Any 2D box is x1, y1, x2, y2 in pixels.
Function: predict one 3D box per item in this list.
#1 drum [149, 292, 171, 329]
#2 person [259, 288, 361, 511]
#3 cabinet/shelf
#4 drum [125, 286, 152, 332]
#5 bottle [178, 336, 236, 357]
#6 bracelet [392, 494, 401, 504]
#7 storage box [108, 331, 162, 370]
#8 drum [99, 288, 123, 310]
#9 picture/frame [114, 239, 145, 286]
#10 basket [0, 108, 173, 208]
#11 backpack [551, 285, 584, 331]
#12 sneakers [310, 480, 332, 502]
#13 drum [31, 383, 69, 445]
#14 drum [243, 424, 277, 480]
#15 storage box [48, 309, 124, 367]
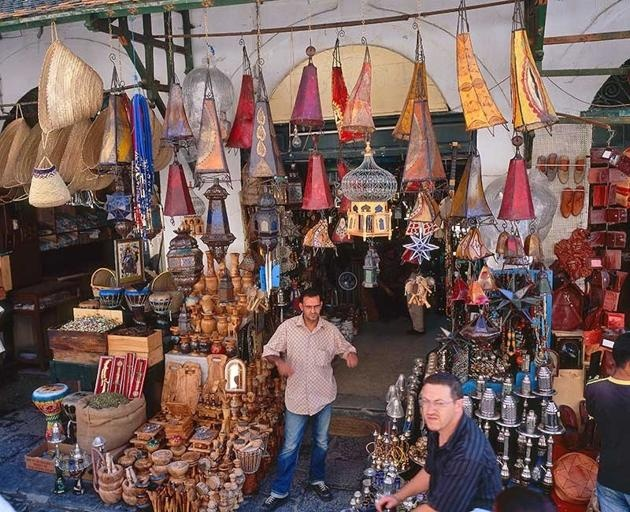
[{"bbox_3d":[-1.417,0.497,5.713,0.190,0.322,0.194,0,-1,0],"label":"drum"},{"bbox_3d":[-0.051,1.070,4.825,0.703,1.637,0.304,0,-1,-7],"label":"person"},{"bbox_3d":[-3.058,0.787,6.915,0.314,0.800,0.893,2,6,12],"label":"cabinet/shelf"},{"bbox_3d":[-1.671,0.470,5.843,0.235,0.364,0.791,1,-2,-16],"label":"drum"},{"bbox_3d":[-0.892,0.734,5.222,0.339,0.117,0.213,4,0,12],"label":"bottle"},{"bbox_3d":[0.484,1.426,3.659,0.039,0.046,0.041,-2,-1,-11],"label":"bracelet"},{"bbox_3d":[-1.584,0.818,5.563,0.439,0.268,0.461,0,0,-1],"label":"storage box"},{"bbox_3d":[-1.943,0.396,5.906,0.222,0.199,0.220,1,-1,-18],"label":"drum"},{"bbox_3d":[-1.806,0.060,6.043,0.049,0.503,0.384,0,6,29],"label":"picture/frame"},{"bbox_3d":[-2.072,-0.913,5.510,1.528,0.652,1.014,-4,19,10],"label":"basket"},{"bbox_3d":[2.124,0.444,5.229,0.310,0.420,0.173,1,-11,1],"label":"backpack"},{"bbox_3d":[0.054,1.804,4.819,0.075,0.093,0.208,0,3,-33],"label":"sneakers"},{"bbox_3d":[-2.262,1.327,5.310,0.261,0.446,0.304,1,-1,-20],"label":"drum"},{"bbox_3d":[-0.384,1.543,5.080,0.323,0.359,0.350,4,21,9],"label":"drum"},{"bbox_3d":[-2.098,0.724,5.638,0.549,0.420,0.348,1,8,1],"label":"storage box"}]
